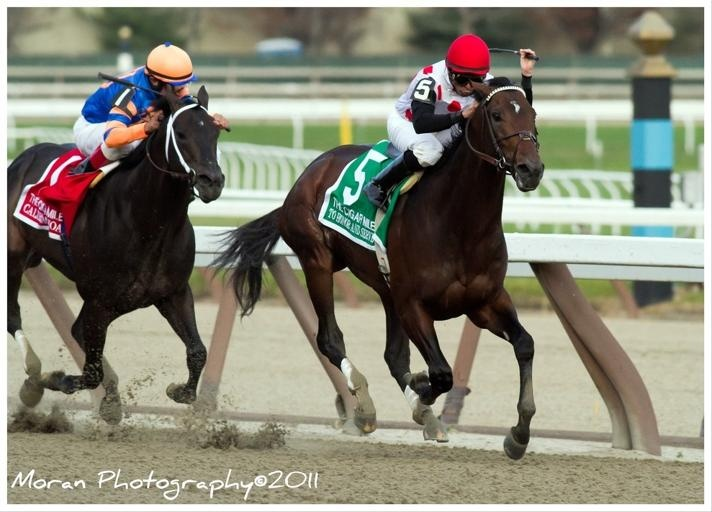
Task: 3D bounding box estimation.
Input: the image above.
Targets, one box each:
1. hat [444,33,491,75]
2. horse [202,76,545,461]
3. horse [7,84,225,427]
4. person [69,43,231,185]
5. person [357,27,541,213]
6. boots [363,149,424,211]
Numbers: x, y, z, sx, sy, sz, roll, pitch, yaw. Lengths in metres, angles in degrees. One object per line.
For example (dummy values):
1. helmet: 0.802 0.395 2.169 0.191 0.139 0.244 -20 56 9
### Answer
1. hat: 0.605 -1.067 6.423 0.187 0.239 0.137 2 -21 -1
2. horse: 0.276 0.004 6.641 0.543 2.000 1.800 -7 13 -40
3. horse: -1.345 -0.004 6.764 1.549 1.921 0.476 6 11 28
4. person: -1.368 -0.848 7.110 0.852 0.532 1.390 -17 10 -34
5. person: 0.458 -0.700 6.706 0.618 0.886 1.147 1 3 -28
6. boots: 0.199 -0.421 6.585 0.356 0.219 0.149 -32 7 18
